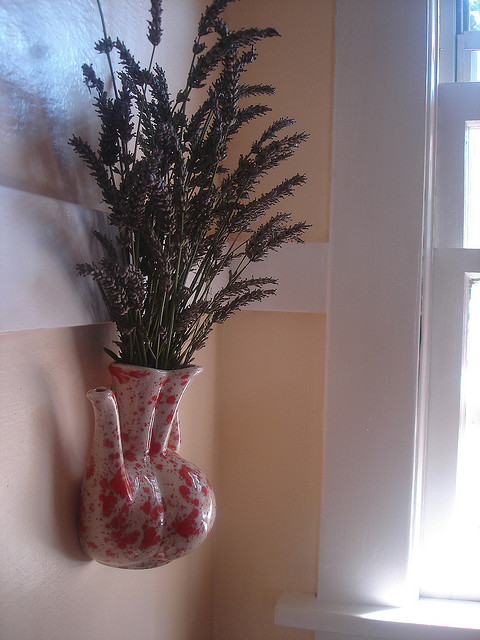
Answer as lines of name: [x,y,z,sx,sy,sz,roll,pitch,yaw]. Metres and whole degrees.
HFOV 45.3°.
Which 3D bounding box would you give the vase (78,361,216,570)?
vase: [-0.111,0.169,0.679,0.136,0.229,0.185,0,-1,41]
